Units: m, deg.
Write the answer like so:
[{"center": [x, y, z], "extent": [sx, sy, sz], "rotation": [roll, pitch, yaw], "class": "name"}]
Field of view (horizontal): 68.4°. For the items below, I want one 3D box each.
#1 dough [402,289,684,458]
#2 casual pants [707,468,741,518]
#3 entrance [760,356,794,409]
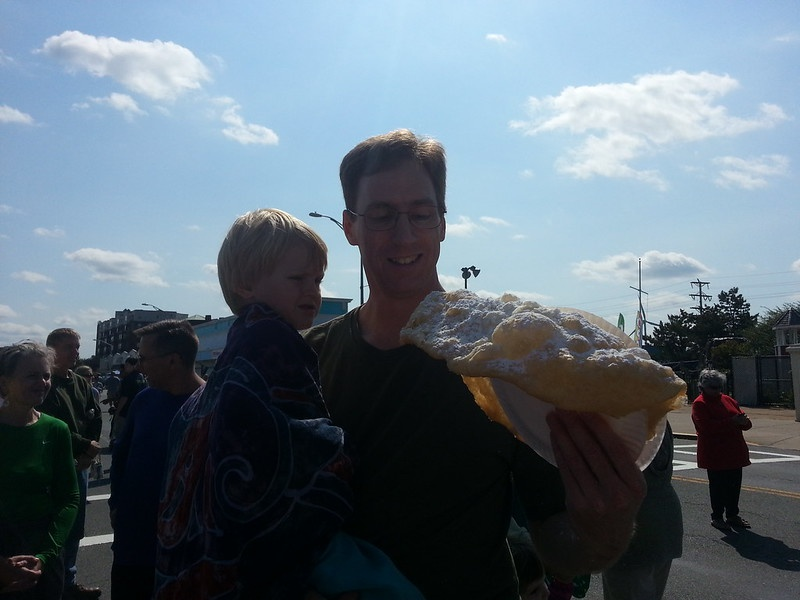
[{"center": [0.543, 0.269, 2.417], "extent": [0.924, 0.447, 1.096], "rotation": [11, 9, -12], "class": "dough"}, {"center": [4.238, 2.534, 7.624], "extent": [0.381, 0.616, 0.344], "rotation": [-1, -4, 19], "class": "casual pants"}, {"center": [15.288, 3.296, 23.914], "extent": [1.106, 1.987, 1.968], "rotation": [-2, -4, 32], "class": "entrance"}]
